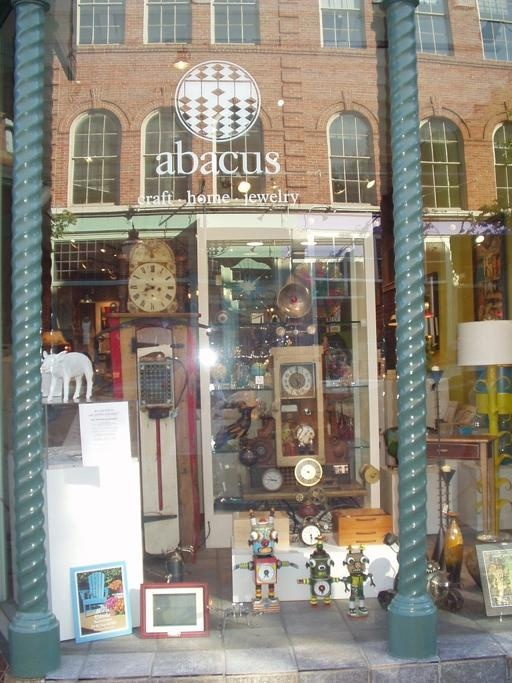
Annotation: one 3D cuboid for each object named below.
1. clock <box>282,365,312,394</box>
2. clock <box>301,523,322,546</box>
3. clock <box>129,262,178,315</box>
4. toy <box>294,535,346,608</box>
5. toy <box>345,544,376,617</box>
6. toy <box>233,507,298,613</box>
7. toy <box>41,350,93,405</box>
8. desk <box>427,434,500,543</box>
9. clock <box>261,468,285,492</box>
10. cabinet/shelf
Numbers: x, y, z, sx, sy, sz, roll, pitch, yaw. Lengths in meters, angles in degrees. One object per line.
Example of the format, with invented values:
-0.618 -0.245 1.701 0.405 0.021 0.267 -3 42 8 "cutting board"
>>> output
0.263 0.252 6.235 0.156 0.148 0.016 30 -5 -8 "clock"
0.326 1.141 5.501 0.144 0.129 0.048 -1 -7 -4 "clock"
-0.674 -0.340 5.996 0.364 0.327 0.047 2 8 -35 "clock"
0.355 1.310 5.331 0.223 0.371 0.194 -2 12 -6 "toy"
0.568 1.343 5.196 0.152 0.345 0.288 1 12 6 "toy"
0.046 1.240 5.376 0.362 0.479 0.464 -3 13 -12 "toy"
-1.011 0.198 5.513 0.407 0.290 0.198 12 -19 -43 "toy"
1.400 0.892 6.022 0.569 0.748 0.653 -1 -4 1 "desk"
0.107 0.902 6.073 0.131 0.127 0.091 -1 12 0 "clock"
0.227 0.240 6.123 1.190 2.120 0.477 -2 12 -5 "cabinet/shelf"
